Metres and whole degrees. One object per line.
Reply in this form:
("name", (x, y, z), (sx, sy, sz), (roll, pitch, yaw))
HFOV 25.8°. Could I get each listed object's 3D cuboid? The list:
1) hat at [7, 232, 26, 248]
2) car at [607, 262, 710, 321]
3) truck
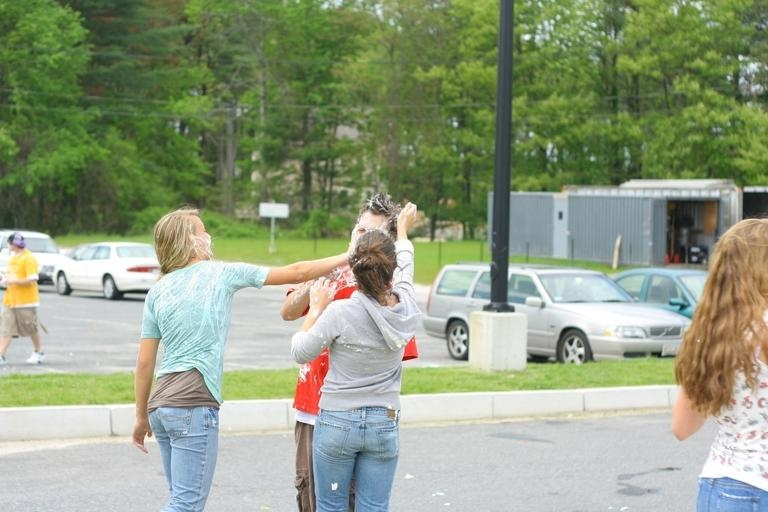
("hat", (-9.580, -0.361, 43.425), (0.379, 0.482, 0.458), (5, -6, -19))
("car", (7.712, 0.997, 46.220), (1.227, 0.907, 2.612), (0, -2, -44))
("truck", (4.487, 1.515, 45.263), (5.808, 2.158, 2.906), (-5, -6, 41))
